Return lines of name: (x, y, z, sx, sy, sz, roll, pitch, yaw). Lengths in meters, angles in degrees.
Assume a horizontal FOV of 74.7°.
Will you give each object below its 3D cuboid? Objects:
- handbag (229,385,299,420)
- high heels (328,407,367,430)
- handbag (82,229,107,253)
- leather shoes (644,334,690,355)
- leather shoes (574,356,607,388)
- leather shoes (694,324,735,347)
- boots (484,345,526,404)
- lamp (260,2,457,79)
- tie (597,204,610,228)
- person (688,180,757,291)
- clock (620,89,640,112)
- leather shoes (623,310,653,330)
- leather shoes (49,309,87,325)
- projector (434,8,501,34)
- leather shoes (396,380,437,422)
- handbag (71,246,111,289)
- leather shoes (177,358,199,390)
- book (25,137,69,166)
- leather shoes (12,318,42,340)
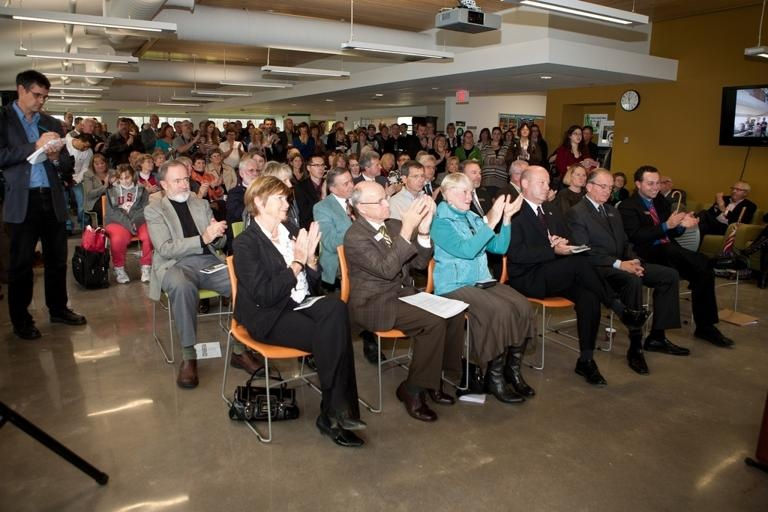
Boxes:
handbag: (-0.923, 1.125, 3.858, 0.516, 0.238, 0.283, 3, 16, 11)
high heels: (-0.219, 1.166, 3.626, 0.356, 0.177, 0.124, -5, -7, 34)
handbag: (-3.600, -0.196, 6.191, 0.303, 0.320, 0.228, 2, 0, 39)
leather shoes: (2.695, 0.852, 4.916, 0.484, 0.202, 0.171, -1, 3, 17)
leather shoes: (1.785, 1.010, 4.371, 0.127, 0.128, 0.278, -5, 12, -25)
leather shoes: (3.305, 0.798, 5.148, 0.146, 0.186, 0.416, -14, 19, -36)
boots: (1.024, 0.972, 4.138, 0.311, 0.378, 0.307, -9, 17, -28)
lamp: (-0.474, -3.759, 8.601, 2.093, 1.052, 3.235, -12, 20, -36)
tie: (2.199, -0.400, 5.021, 0.203, 0.211, 0.051, 8, -8, -42)
person: (5.054, -0.539, 7.532, 0.663, 1.232, 0.454, 19, 3, 7)
clock: (4.962, -3.148, 10.124, 0.061, 0.474, 0.472, 3, -8, -19)
leather shoes: (2.203, 0.538, 4.408, 0.137, 0.111, 0.304, 25, -17, 4)
leather shoes: (-3.270, 0.642, 5.283, 0.405, 0.181, 0.152, 2, 3, -2)
projector: (0.882, -2.516, 5.317, 0.666, 0.210, 0.361, 1, 16, 5)
leather shoes: (0.252, 1.107, 3.937, 0.174, 0.266, 0.343, -9, 18, -30)
handbag: (-3.688, 0.114, 6.345, 0.396, 0.516, 0.430, 1, 14, -26)
leather shoes: (-1.648, 0.985, 4.226, 0.193, 0.208, 0.182, -11, 19, -35)
book: (-2.961, -0.861, 4.404, 0.248, 0.094, 0.257, -24, 12, 17)
leather shoes: (-3.533, 0.720, 4.946, 0.363, 0.162, 0.127, 4, 4, 24)
